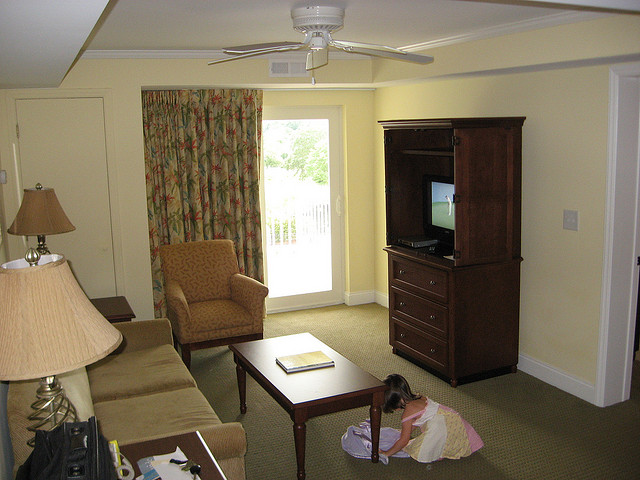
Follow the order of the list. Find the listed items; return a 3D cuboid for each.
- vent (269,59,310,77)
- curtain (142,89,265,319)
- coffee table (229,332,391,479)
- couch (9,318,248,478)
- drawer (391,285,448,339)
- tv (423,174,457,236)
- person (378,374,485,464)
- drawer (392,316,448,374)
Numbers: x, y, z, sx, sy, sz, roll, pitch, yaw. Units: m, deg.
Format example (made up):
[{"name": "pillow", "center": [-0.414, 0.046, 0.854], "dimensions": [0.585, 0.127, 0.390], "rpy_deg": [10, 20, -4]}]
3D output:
[{"name": "vent", "center": [-0.346, -1.976, 5.676], "dimensions": [0.464, 0.193, 0.141], "rpy_deg": [-3, 13, -7]}, {"name": "curtain", "center": [-1.338, -0.460, 5.991], "dimensions": [1.488, 2.638, 0.316], "rpy_deg": [-7, 14, -19]}, {"name": "coffee table", "center": [-0.059, 1.003, 3.608], "dimensions": [0.741, 0.581, 1.265], "rpy_deg": [-4, 9, -25]}, {"name": "couch", "center": [-1.048, 0.899, 2.791], "dimensions": [0.583, 0.544, 1.270], "rpy_deg": [-3, 8, -24]}, {"name": "drawer", "center": [0.948, 0.694, 4.726], "dimensions": [0.363, 0.256, 0.580], "rpy_deg": [3, 7, -31]}, {"name": "tv", "center": [1.184, -0.359, 4.883], "dimensions": [0.224, 0.594, 0.624], "rpy_deg": [-3, 3, -13]}, {"name": "person", "center": [0.762, 1.258, 3.666], "dimensions": [0.734, 0.497, 0.528], "rpy_deg": [4, 12, 32]}, {"name": "drawer", "center": [0.975, 0.994, 4.792], "dimensions": [0.356, 0.298, 0.612], "rpy_deg": [0, 5, -25]}]
